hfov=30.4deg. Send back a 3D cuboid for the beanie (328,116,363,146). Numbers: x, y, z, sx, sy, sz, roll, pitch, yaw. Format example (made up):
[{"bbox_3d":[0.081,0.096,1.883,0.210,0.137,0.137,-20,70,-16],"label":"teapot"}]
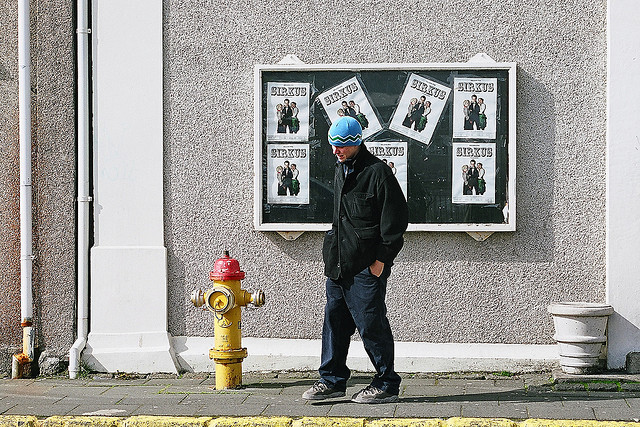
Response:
[{"bbox_3d":[0.263,-0.886,12.573,0.399,0.305,0.406,-1,3,21],"label":"beanie"}]

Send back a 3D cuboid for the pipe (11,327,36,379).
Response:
[{"bbox_3d":[-3.458,1.638,13.754,0.308,0.582,0.144,-4,5,-21],"label":"pipe"}]

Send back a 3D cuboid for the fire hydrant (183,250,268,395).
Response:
[{"bbox_3d":[-1.054,1.190,13.206,0.773,1.554,0.878,-3,5,-11],"label":"fire hydrant"}]

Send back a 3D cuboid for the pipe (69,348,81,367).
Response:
[{"bbox_3d":[-2.855,1.689,13.690,0.125,0.225,0.050,-3,5,-11],"label":"pipe"}]

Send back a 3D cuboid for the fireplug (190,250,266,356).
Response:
[{"bbox_3d":[-0.993,0.998,12.990,0.560,1.349,0.559,0,-1,10],"label":"fireplug"}]
